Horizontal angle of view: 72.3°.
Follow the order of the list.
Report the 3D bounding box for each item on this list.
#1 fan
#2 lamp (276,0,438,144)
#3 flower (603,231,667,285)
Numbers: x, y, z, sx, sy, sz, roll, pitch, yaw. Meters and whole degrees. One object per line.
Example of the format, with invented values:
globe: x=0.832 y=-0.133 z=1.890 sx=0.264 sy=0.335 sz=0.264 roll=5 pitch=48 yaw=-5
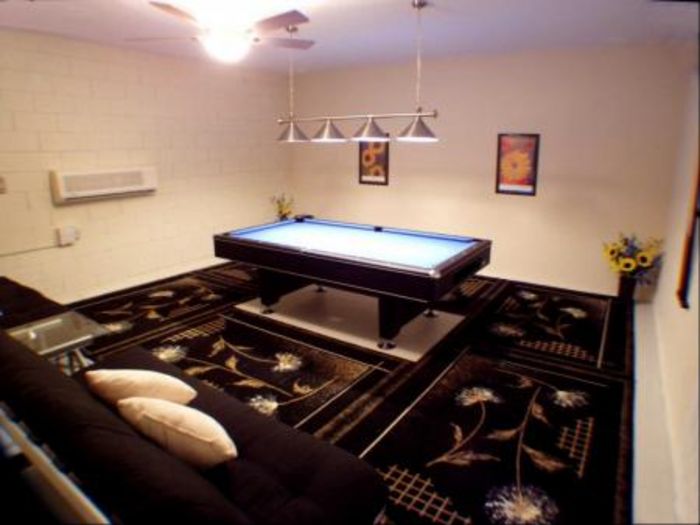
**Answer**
fan: x=-1.040 y=-1.936 z=3.871 sx=1.024 sy=0.123 sz=0.987 roll=9 pitch=15 yaw=35
lamp: x=0.174 y=-2.204 z=5.589 sx=2.213 sy=1.364 sz=0.507 roll=7 pitch=32 yaw=21
flower: x=3.105 y=-0.066 z=5.466 sx=0.645 sy=0.555 sz=0.551 roll=1 pitch=14 yaw=3
